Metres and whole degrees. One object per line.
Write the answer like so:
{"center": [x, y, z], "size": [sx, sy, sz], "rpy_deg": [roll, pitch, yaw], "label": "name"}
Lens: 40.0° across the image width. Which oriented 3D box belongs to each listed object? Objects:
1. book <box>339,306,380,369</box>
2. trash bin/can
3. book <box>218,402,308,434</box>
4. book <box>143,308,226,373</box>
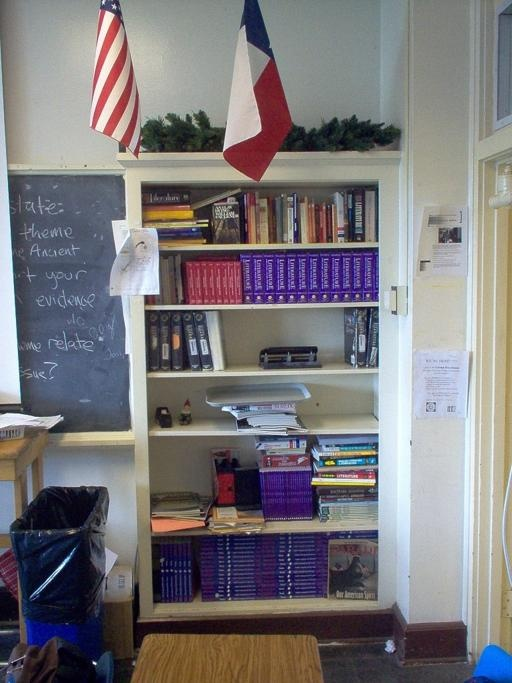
{"center": [0.435, -0.023, 2.908], "size": [0.120, 0.238, 0.261], "rpy_deg": [-3, 5, 2], "label": "book"}
{"center": [-0.669, 0.854, 2.498], "size": [0.313, 0.581, 0.440], "rpy_deg": [-4, 5, -12], "label": "trash bin/can"}
{"center": [0.035, 0.308, 2.813], "size": [0.317, 0.128, 0.068], "rpy_deg": [-3, 5, 1], "label": "book"}
{"center": [-0.283, -0.003, 2.782], "size": [0.215, 0.321, 0.311], "rpy_deg": [-3, 1, -2], "label": "book"}
